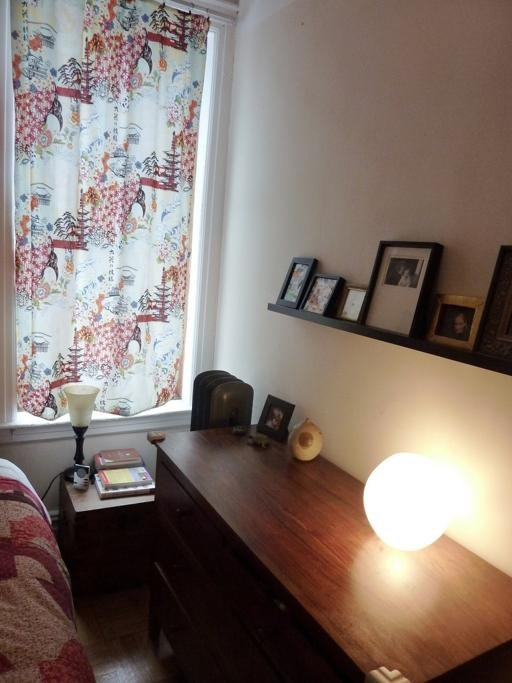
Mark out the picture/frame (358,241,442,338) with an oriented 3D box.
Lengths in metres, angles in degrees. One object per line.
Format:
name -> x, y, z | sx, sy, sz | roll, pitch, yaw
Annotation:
picture/frame -> 0.363, -0.127, 1.240 | 0.051, 0.266, 0.224 | 17, 2, -26

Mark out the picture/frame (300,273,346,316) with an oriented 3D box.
picture/frame -> 0.216, -0.144, 1.554 | 0.037, 0.129, 0.140 | 26, -7, -39

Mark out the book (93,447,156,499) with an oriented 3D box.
book -> -0.553, 0.534, 2.068 | 0.147, 0.058, 0.248 | 0, 16, -19

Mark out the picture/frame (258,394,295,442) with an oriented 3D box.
picture/frame -> 0.076, 0.268, 1.740 | 0.056, 0.116, 0.117 | 3, 16, -37

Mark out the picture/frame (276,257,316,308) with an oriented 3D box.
picture/frame -> 0.141, -0.202, 1.696 | 0.022, 0.204, 0.163 | 23, 5, -27

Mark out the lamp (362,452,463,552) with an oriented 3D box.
lamp -> 0.327, 0.338, 1.132 | 0.198, 0.151, 0.209 | 47, -14, -9

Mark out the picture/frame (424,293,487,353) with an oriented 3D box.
picture/frame -> 0.442, -0.042, 1.102 | 0.009, 0.116, 0.112 | 14, 8, -26
